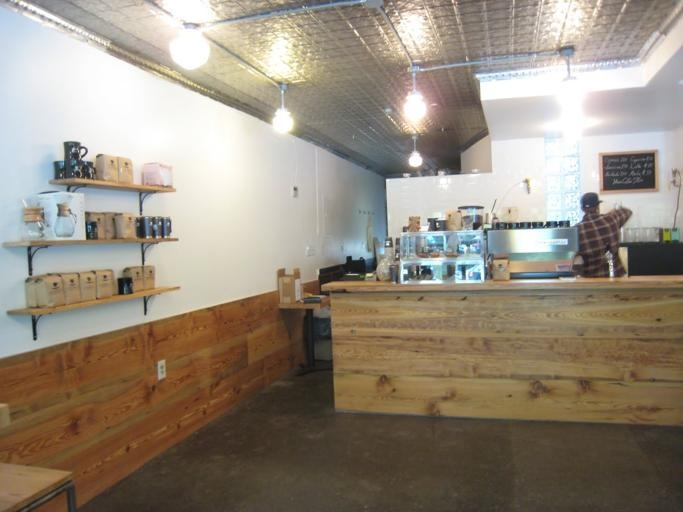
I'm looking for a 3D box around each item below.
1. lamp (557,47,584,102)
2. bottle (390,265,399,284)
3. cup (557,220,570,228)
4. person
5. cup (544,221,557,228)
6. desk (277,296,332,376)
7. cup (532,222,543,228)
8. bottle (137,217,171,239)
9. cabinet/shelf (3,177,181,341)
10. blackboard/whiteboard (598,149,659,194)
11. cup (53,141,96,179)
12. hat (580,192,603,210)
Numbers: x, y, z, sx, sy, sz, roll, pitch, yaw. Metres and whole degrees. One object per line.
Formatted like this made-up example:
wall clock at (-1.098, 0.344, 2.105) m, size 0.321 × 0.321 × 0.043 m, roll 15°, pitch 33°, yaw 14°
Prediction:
lamp at (2.312, -1.852, 4.987) m, size 0.241 × 0.538 × 0.245 m, roll -18°, pitch 15°, yaw -38°
bottle at (0.522, 0.169, 4.832) m, size 0.086 × 0.177 × 0.043 m, roll -2°, pitch 7°, yaw 4°
cup at (2.398, -0.347, 5.317) m, size 0.116 × 0.055 × 0.230 m, roll 1°, pitch 8°, yaw 23°
person at (2.841, -0.234, 5.350) m, size 0.503 × 0.903 × 1.016 m, roll 1°, pitch 8°, yaw 30°
cup at (2.276, -0.346, 5.345) m, size 0.093 × 0.059 × 0.093 m, roll 1°, pitch -5°, yaw 0°
desk at (-0.550, 0.944, 6.492) m, size 0.796 × 1.165 × 1.223 m, roll 0°, pitch -1°, yaw 11°
cup at (2.157, -0.344, 5.404) m, size 0.119 × 0.063 × 0.080 m, roll 1°, pitch -3°, yaw 4°
bottle at (-1.527, -0.236, 4.014) m, size 0.167 × 0.203 × 0.280 m, roll -3°, pitch -3°, yaw 20°
cabinet/shelf at (-1.854, 0.013, 3.575) m, size 0.315 × 1.207 × 1.405 m, roll 0°, pitch 1°, yaw 18°
blackboard/whiteboard at (3.970, -1.161, 6.736) m, size 0.641 × 0.523 × 0.048 m, roll 0°, pitch -4°, yaw 14°
cup at (-1.897, -0.680, 3.484) m, size 0.225 × 0.269 × 0.255 m, roll 3°, pitch 9°, yaw 36°
hat at (2.833, -0.666, 5.603) m, size 0.182 × 0.150 × 0.264 m, roll -3°, pitch 34°, yaw 51°
